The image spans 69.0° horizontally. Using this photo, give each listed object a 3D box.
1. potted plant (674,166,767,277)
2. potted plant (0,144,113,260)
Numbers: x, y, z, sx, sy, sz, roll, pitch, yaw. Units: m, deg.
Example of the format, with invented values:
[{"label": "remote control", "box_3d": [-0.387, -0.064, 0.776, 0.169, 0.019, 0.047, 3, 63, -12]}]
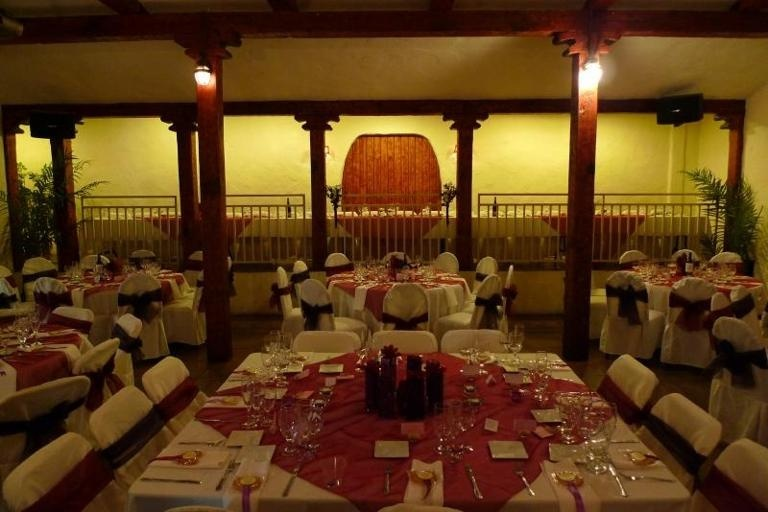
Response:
[{"label": "potted plant", "box_3d": [6.285, -0.455, 10.453, 1.451, 2.160, 1.849, 1, -2, 40]}, {"label": "potted plant", "box_3d": [-6.175, -0.986, 10.394, 1.928, 2.123, 1.367, 4, 22, -9]}]
